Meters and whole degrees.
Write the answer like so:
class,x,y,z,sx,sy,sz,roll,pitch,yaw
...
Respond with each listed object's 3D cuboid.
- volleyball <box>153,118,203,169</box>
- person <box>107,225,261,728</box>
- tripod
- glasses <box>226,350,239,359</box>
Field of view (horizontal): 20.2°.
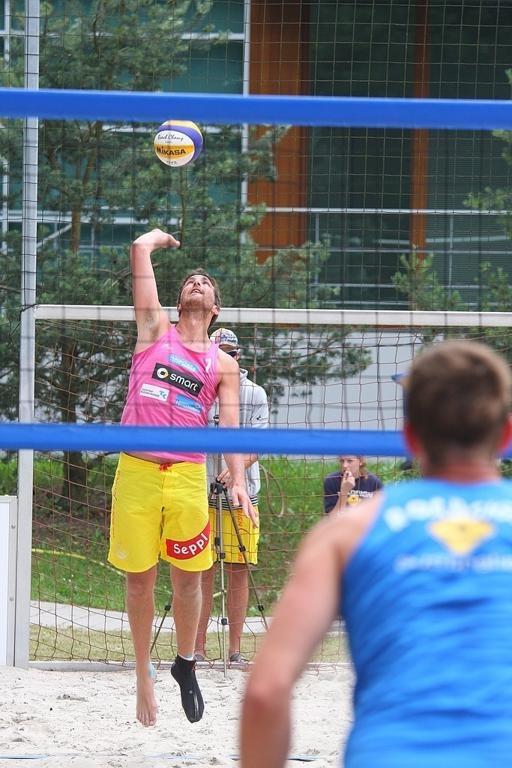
class,x,y,z,sx,sy,sz,roll,pitch,yaw
volleyball,-0.371,-1.154,6.833,0.206,0.204,0.229,0,5,-12
person,-0.287,0.326,6.209,0.637,1.917,0.828,0,0,1
tripod,-0.225,0.844,7.267,0.473,1.195,0.434,4,1,-18
glasses,-0.111,-0.163,7.508,0.050,0.054,0.083,6,6,7
